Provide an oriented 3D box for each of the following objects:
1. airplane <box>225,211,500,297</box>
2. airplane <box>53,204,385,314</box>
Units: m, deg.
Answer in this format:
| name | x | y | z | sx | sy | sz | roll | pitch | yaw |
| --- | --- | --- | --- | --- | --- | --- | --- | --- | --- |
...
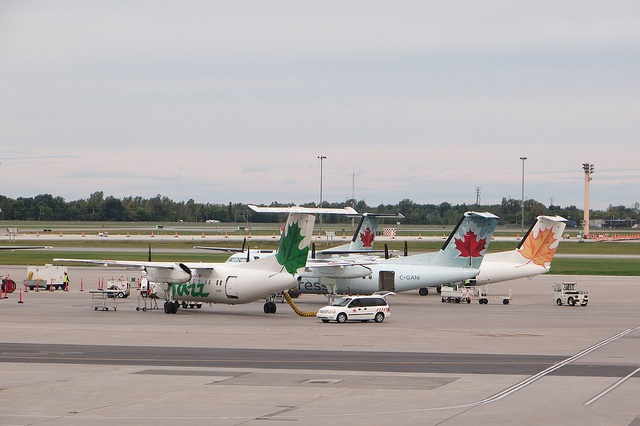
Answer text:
| name | x | y | z | sx | sy | sz | roll | pitch | yaw |
| --- | --- | --- | --- | --- | --- | --- | --- | --- | --- |
| airplane | 6.502 | 4.782 | 101.150 | 12.430 | 3.488 | 10.617 | 1 | 0 | 9 |
| airplane | -6.262 | 4.739 | 93.129 | 14.693 | 3.634 | 13.720 | 0 | -2 | -40 |
